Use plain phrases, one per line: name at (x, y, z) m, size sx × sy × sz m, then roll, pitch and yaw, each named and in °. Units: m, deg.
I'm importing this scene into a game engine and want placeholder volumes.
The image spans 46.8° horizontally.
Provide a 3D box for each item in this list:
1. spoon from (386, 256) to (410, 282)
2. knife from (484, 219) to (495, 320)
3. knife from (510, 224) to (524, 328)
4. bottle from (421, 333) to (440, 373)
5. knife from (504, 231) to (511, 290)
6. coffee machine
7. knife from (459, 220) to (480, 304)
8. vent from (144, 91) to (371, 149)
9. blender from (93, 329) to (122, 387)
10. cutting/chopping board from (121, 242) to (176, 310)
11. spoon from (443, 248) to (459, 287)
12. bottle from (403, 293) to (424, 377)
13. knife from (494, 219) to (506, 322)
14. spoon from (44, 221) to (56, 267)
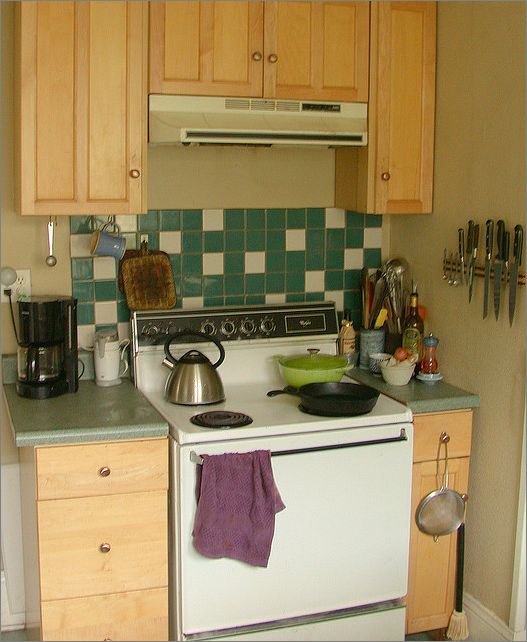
spoon at (0.529, -0.205, 2.463) m, size 0.140 × 0.089 × 0.091 m, roll -13°, pitch 14°, yaw -43°
knife at (0.707, -0.161, 1.941) m, size 0.017 × 0.305 × 0.034 m, roll -5°, pitch 11°, yaw -24°
knife at (0.741, -0.129, 1.806) m, size 0.018 × 0.284 × 0.030 m, roll -8°, pitch 14°, yaw -34°
bottle at (0.600, 0.113, 2.208) m, size 0.057 × 0.133 × 0.157 m, roll 0°, pitch 10°, yaw 15°
knife at (0.738, -0.192, 1.856) m, size 0.022 × 0.155 × 0.025 m, roll 3°, pitch 9°, yaw 33°
coffee machine at (-0.685, 0.088, 1.926) m, size 0.198 × 0.324 × 0.099 m, roll -7°, pitch 10°, yaw -30°
knife at (0.686, -0.198, 2.048) m, size 0.021 × 0.267 × 0.051 m, roll -11°, pitch 13°, yaw -37°
vent at (0.005, -0.646, 1.962) m, size 0.753 × 0.171 × 0.088 m, roll -7°, pitch 10°, yaw -18°
blender at (-0.521, 0.122, 2.119) m, size 0.133 × 0.196 × 0.100 m, roll 4°, pitch 21°, yaw -6°
cutting/chopping board at (-0.419, -0.149, 2.228) m, size 0.149 × 0.268 × 0.036 m, roll -7°, pitch 9°, yaw -27°
spoon at (0.668, -0.192, 2.175) m, size 0.015 × 0.120 × 0.102 m, roll -4°, pitch 10°, yaw -17°
bottle at (0.551, 0.068, 2.290) m, size 0.052 × 0.328 × 0.074 m, roll -4°, pitch 14°, yaw -17°
knife at (0.724, -0.158, 1.880) m, size 0.020 × 0.302 × 0.031 m, roll -6°, pitch 9°, yaw -36°
spoon at (-0.733, -0.264, 2.088) m, size 0.041 × 0.171 × 0.077 m, roll -5°, pitch 9°, yaw -23°
